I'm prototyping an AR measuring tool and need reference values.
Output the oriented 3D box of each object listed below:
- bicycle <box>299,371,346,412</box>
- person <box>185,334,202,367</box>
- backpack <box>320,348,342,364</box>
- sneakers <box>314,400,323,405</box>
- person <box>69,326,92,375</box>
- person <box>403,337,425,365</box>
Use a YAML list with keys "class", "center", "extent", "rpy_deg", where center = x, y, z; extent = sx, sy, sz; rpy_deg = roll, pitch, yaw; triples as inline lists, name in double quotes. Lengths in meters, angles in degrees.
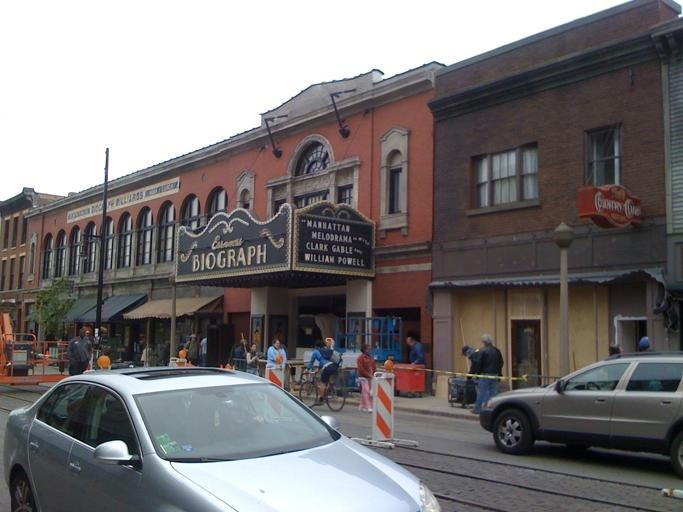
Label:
- class: "bicycle"
  center: [-0.550, 3.974, 20.476]
  extent: [0.836, 1.082, 1.724]
  rpy_deg: [3, 4, -39]
- class: "person"
  center: [-6.568, 4.123, 31.187]
  extent: [0.599, 1.425, 2.840]
  rpy_deg: [-2, -3, -12]
- class: "backpack"
  center: [-0.274, 2.775, 19.719]
  extent: [0.486, 0.537, 0.358]
  rpy_deg: [5, -1, 43]
- class: "sneakers"
  center: [-0.640, 4.071, 19.791]
  extent: [0.161, 0.170, 0.296]
  rpy_deg: [-3, -15, 5]
- class: "person"
  center: [-7.818, 3.064, 21.116]
  extent: [0.628, 1.837, 0.526]
  rpy_deg: [6, -8, -32]
- class: "person"
  center: [2.427, 3.063, 23.040]
  extent: [0.550, 0.927, 1.405]
  rpy_deg: [-2, -2, 7]
